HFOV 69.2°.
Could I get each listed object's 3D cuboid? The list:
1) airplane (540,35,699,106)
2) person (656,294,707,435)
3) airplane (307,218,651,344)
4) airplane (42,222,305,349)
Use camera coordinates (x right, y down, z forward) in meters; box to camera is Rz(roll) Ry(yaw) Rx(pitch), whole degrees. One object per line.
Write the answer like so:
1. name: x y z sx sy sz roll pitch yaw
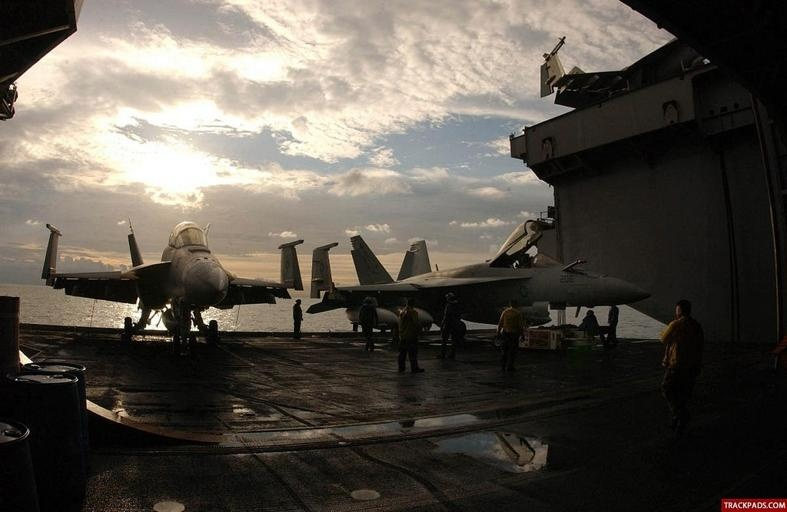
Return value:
1. airplane: 11.002 -9.867 28.708 3.493 3.511 8.333 -1 4 -17
2. person: 5.503 2.129 11.147 0.684 2.404 0.939 3 5 32
3. airplane: 3.658 1.377 24.525 11.113 2.615 8.224 -1 -1 35
4. airplane: -8.063 0.982 20.630 8.948 4.385 8.034 -1 4 -12
